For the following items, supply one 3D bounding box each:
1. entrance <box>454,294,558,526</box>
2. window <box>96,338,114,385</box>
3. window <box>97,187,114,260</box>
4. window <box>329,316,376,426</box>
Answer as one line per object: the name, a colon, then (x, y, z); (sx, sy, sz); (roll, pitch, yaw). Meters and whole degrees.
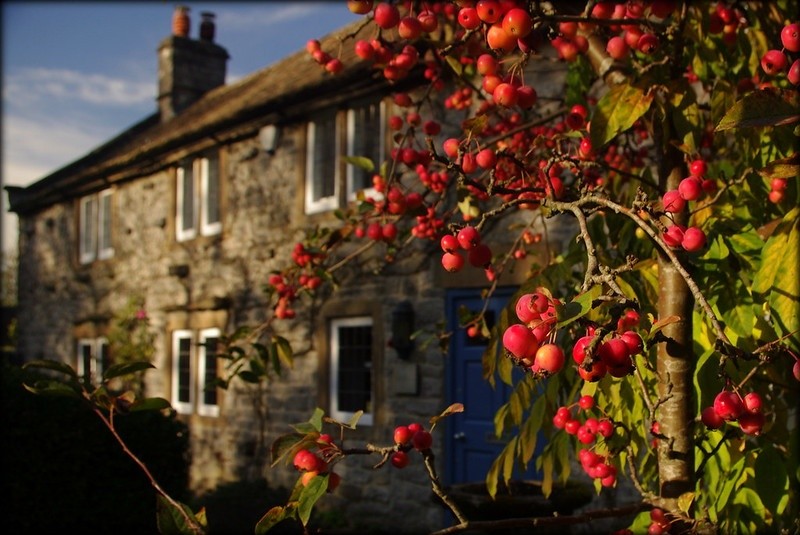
entrance: (0.792, 1.251, 10.585); (0.813, 2.392, 0.138); (-1, -33, 5)
window: (-2.467, 0.803, 10.616); (0.077, 0.432, 0.078); (20, 29, 20)
window: (-2.261, -0.325, 9.867); (0.031, 0.490, 0.455); (2, -3, -30)
window: (-0.416, 0.911, 11.259); (0.489, 0.118, 1.422); (1, -48, 0)
